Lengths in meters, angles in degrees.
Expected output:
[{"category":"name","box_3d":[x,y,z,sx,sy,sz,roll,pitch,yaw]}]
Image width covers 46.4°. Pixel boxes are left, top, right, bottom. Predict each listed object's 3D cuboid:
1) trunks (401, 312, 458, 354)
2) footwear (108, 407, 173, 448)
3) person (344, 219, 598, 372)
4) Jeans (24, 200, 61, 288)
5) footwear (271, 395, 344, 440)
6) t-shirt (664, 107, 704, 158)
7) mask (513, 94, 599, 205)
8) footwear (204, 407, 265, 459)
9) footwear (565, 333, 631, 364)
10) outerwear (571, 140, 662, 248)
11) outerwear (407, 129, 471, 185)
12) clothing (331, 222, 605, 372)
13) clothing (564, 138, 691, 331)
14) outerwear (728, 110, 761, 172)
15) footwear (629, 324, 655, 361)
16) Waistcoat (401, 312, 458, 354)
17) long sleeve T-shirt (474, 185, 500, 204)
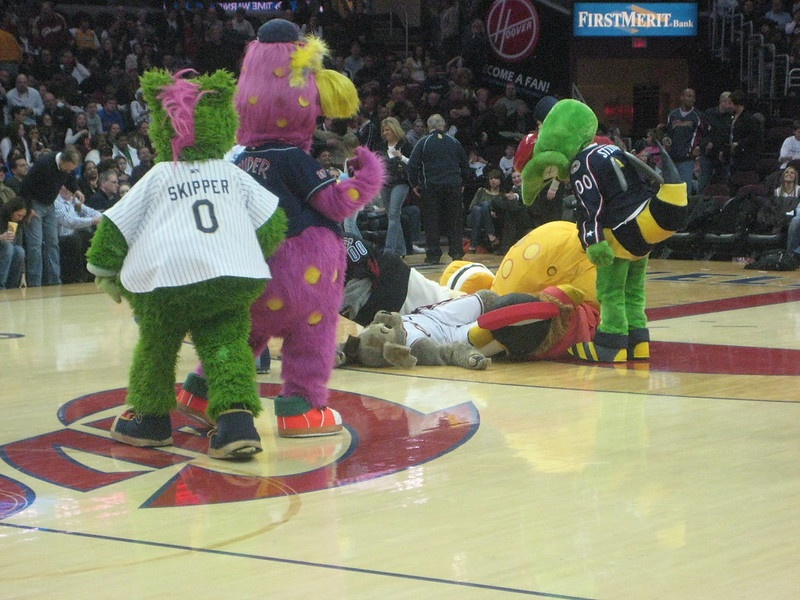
[{"category":"trunks","box_3d":[0.173,0.151,5.393,0.259,0.075,0.209,-22,9,-26]},{"category":"footwear","box_3d":[-1.031,0.518,3.827,0.250,0.128,0.134,8,-1,10]},{"category":"person","box_3d":[0.395,0.005,5.332,1.286,0.423,1.000,-7,7,-26]},{"category":"Jeans","box_3d":[-3.909,-0.598,10.067,0.283,0.891,0.581,1,5,7]},{"category":"footwear","box_3d":[-0.397,0.495,3.973,0.293,0.140,0.152,-1,0,-15]},{"category":"t-shirt","box_3d":[4.070,-2.319,13.350,0.688,0.755,0.351,14,33,43]},{"category":"mask","box_3d":[0.932,-0.846,5.533,0.478,0.605,0.273,28,0,31]},{"category":"footwear","box_3d":[-0.642,0.522,3.633,0.200,0.195,0.160,0,5,-13]},{"category":"footwear","box_3d":[1.105,0.267,5.293,0.394,0.211,0.126,7,5,17]},{"category":"outerwear","box_3d":[1.102,-0.611,5.335,0.493,0.578,0.717,-14,13,11]},{"category":"outerwear","box_3d":[0.404,-1.761,11.711,0.910,0.608,0.444,-8,12,-28]},{"category":"clothing","box_3d":[0.393,-0.003,5.353,1.312,0.436,0.978,-6,5,-25]},{"category":"clothing","box_3d":[1.242,-0.342,5.208,0.619,1.063,0.401,1,5,8]},{"category":"outerwear","box_3d":[4.887,-2.261,13.333,0.401,0.815,0.505,2,5,17]},{"category":"footwear","box_3d":[1.354,0.243,5.356,0.130,0.116,0.199,0,8,4]},{"category":"Waistcoat","box_3d":[0.157,0.168,5.277,0.258,0.077,0.186,8,33,2]},{"category":"long sleeve T-shirt","box_3d":[1.231,-1.491,13.326,0.386,0.172,0.306,10,47,18]}]
